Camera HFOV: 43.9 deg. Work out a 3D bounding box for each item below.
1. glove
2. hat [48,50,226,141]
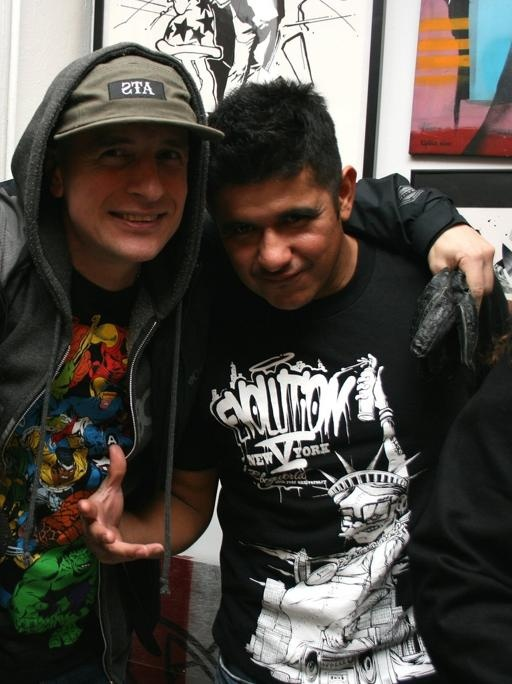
[{"bbox_3d":[0.300,-0.032,0.948,0.159,0.161,0.046,16,24,30],"label":"glove"},{"bbox_3d":[-0.198,-0.387,1.060,0.268,0.144,0.296,-6,3,-12],"label":"hat"}]
